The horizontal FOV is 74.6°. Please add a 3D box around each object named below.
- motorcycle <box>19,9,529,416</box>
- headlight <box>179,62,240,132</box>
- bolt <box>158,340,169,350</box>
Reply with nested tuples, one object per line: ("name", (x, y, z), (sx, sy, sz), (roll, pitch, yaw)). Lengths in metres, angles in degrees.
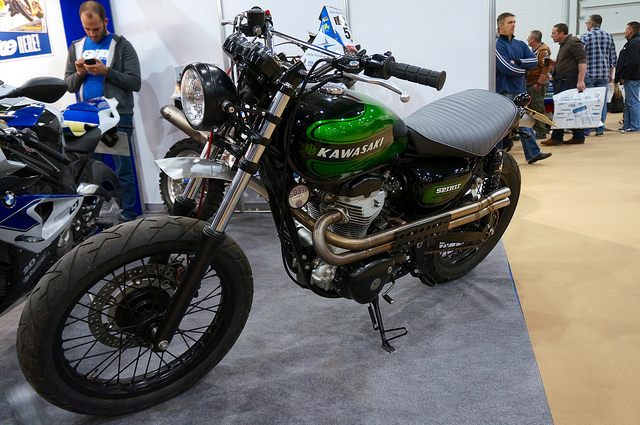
("motorcycle", (0.037, -0.325, 2.899), (3.514, 1.998, 1.668), (-14, 35, -33))
("headlight", (-0.510, -0.548, 1.997), (0.214, 0.320, 0.349), (-14, 34, -37))
("bolt", (-0.749, 0.636, 2.015), (0.042, 0.044, 0.014), (17, 8, -23))
